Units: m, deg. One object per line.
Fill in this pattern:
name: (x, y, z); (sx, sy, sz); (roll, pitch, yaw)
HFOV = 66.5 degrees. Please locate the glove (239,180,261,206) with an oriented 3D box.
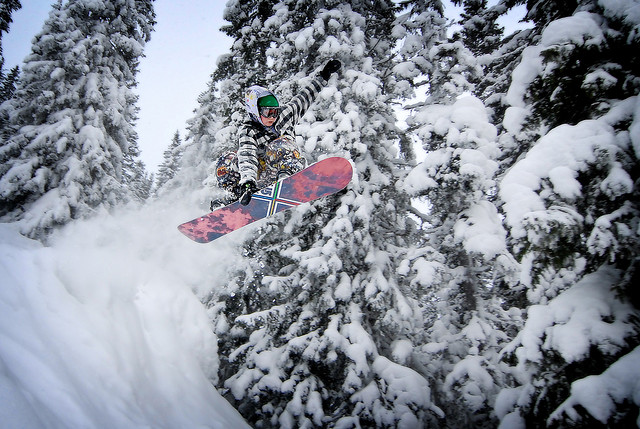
glove: (-1.449, -0.450, 9.792); (0.329, 0.427, 0.412); (9, -4, -8)
